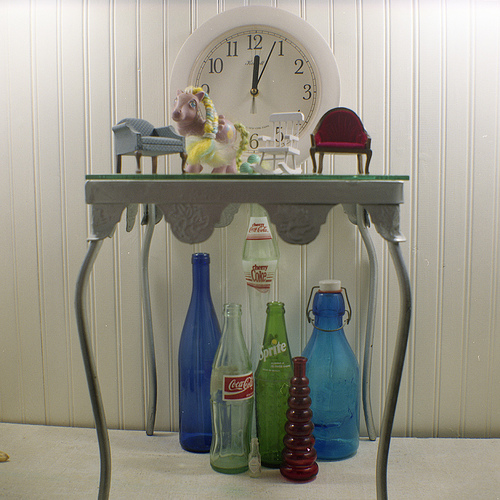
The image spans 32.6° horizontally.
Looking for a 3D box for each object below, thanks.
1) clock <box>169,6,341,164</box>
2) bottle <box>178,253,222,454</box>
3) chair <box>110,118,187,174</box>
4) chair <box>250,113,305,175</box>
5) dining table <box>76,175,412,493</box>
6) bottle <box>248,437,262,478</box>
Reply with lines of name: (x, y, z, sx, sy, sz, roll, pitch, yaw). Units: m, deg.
clock: (0.020, -0.406, 2.122, 0.292, 0.420, 0.036, 1, 5, 6)
bottle: (-0.133, 0.259, 2.233, 0.095, 0.516, 0.119, 0, -1, -1)
chair: (-0.236, -0.244, 2.002, 0.142, 0.171, 0.119, -1, -3, -36)
chair: (0.067, -0.255, 2.020, 0.089, 0.170, 0.114, 1, -3, 38)
dining table: (-0.013, -0.038, 2.153, 0.726, 1.009, 0.672, 1, 3, 1)
bottle: (0.013, 0.496, 2.090, 0.033, 0.092, 0.057, 0, 7, -1)
